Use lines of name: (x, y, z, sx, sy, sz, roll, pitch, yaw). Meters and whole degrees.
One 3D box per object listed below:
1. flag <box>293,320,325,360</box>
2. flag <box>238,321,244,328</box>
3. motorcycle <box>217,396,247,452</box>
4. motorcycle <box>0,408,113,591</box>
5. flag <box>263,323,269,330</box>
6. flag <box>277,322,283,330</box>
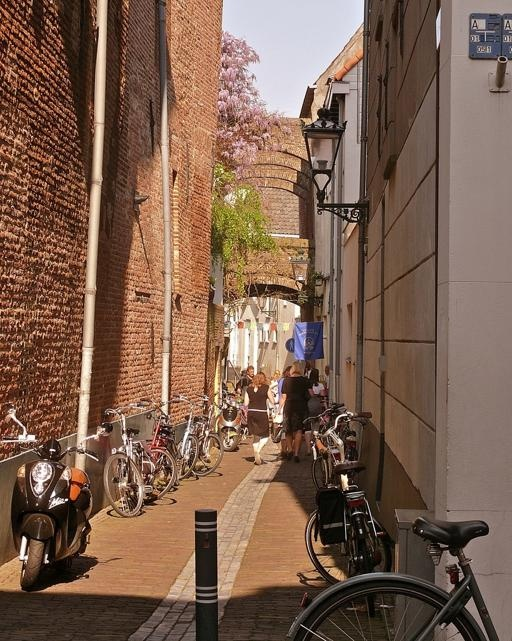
flag: (2.394, 0.920, 26.077, 1.290, 2.484, 0.191, -1, 4, 25)
flag: (-0.918, 0.308, 37.047, 0.228, 0.460, 0.371, -1, -14, 5)
motorcycle: (-0.743, 3.114, 18.176, 0.661, 1.201, 1.582, 2, 5, 5)
motorcycle: (-1.698, 1.519, 4.849, 0.642, 1.439, 1.527, 1, -9, 3)
flag: (0.867, 0.521, 48.180, 0.362, 0.565, 0.424, 1, 9, -1)
flag: (1.897, 0.393, 44.977, 0.297, 0.814, 0.684, 2, -3, 2)
